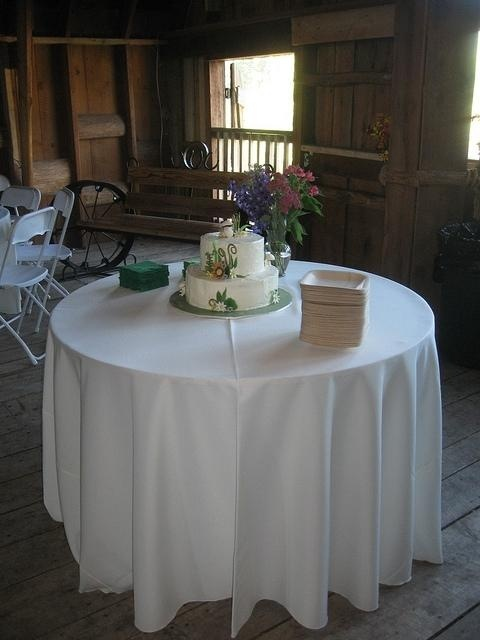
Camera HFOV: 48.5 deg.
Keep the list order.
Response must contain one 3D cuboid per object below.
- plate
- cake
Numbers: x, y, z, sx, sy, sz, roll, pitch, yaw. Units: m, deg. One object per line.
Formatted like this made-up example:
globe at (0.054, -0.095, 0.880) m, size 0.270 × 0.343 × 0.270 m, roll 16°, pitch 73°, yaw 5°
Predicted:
plate at (0.255, -0.021, 1.478) m, size 0.207 × 0.194 × 0.217 m, roll 1°, pitch 24°, yaw 8°
cake at (-0.024, -0.141, 1.664) m, size 0.281 × 0.259 × 0.291 m, roll 1°, pitch 26°, yaw 3°
